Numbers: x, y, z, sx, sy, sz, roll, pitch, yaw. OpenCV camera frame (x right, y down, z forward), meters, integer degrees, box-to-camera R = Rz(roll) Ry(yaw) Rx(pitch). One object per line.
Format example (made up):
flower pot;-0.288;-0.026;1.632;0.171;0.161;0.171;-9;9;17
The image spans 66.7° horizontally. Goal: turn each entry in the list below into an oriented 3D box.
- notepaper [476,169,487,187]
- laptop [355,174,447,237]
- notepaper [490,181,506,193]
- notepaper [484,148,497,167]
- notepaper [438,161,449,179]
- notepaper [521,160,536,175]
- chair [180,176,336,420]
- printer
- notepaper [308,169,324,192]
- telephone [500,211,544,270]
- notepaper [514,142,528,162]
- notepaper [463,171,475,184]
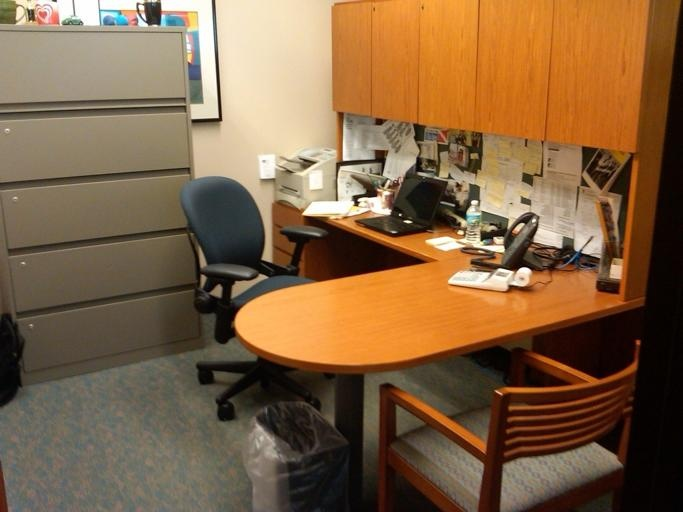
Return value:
notepaper;0.803;-0.436;2.979;0.007;0.096;0.081;-10;18;-25
laptop;0.348;-0.285;3.054;0.424;0.287;0.422;-6;18;-31
notepaper;0.870;-0.381;2.877;0.004;0.065;0.105;-12;19;-29
notepaper;0.832;-0.542;2.890;0.023;0.092;0.097;0;7;-24
notepaper;0.642;-0.532;3.254;0.025;0.090;0.082;-6;6;-39
notepaper;0.961;-0.445;2.656;0.018;0.066;0.069;0;15;-35
chair;-0.453;0.197;2.834;0.772;1.165;0.881;5;17;16
printer;-0.287;-0.550;3.676;0.417;0.395;0.518;-6;14;-27
notepaper;-0.173;-0.508;3.505;0.136;0.159;0.018;-6;13;-31
telephone;0.860;-0.062;2.449;0.111;0.226;0.166;31;27;1
notepaper;0.933;-0.539;2.698;0.020;0.084;0.077;1;-1;-23
notepaper;0.756;-0.456;3.066;0.009;0.064;0.064;-13;27;-29
